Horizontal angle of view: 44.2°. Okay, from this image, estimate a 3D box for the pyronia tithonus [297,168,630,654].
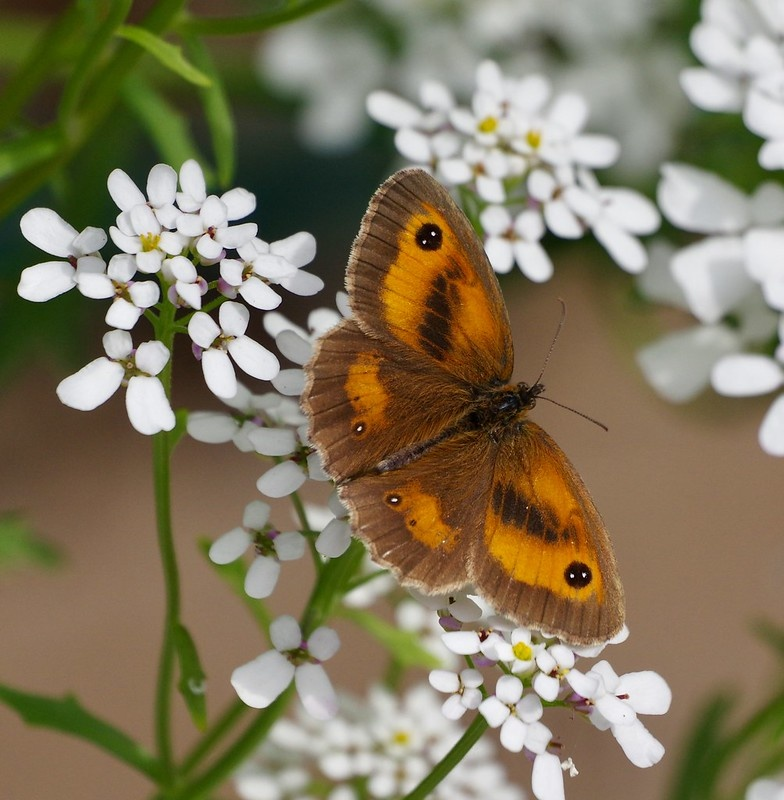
[{"bbox_3d":[0.061,-0.010,1.063,0.325,0.465,0.350,-3,20,-5],"label":"pyronia tithonus"}]
